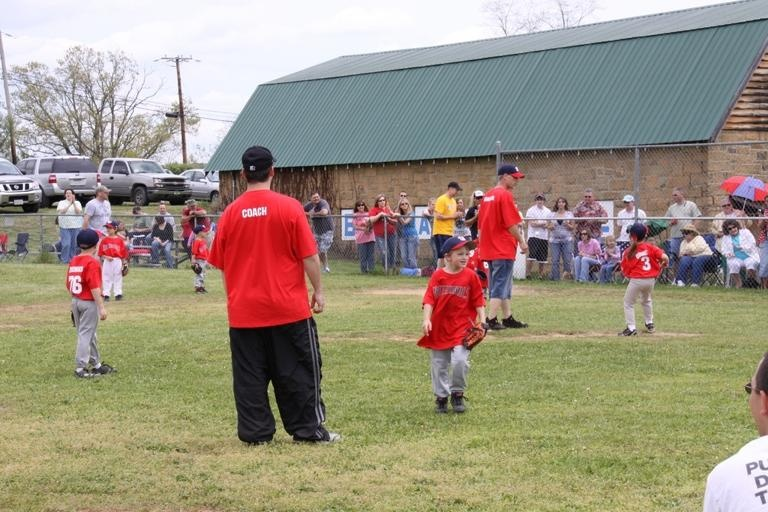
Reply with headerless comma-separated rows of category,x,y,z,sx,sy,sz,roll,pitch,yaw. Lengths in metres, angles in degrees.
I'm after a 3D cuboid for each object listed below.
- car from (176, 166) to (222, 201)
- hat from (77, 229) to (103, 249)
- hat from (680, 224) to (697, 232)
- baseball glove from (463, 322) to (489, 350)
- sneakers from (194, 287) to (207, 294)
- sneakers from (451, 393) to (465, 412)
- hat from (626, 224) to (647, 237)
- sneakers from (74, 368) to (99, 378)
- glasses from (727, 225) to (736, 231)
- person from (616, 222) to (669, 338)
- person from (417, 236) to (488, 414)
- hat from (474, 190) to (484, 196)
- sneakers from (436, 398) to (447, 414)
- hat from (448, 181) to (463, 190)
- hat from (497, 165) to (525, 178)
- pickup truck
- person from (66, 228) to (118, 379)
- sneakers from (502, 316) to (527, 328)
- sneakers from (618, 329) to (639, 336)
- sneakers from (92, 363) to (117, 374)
car,-6.868,-2.727,38.506,2.148,0.963,1.282,1,4,34
hat,-4.102,-0.227,14.155,0.231,0.193,0.319,2,41,1
hat,6.201,-0.537,20.675,0.278,0.197,0.380,1,14,11
baseball glove,1.209,1.045,12.630,0.332,0.134,0.307,-47,18,-14
sneakers,-3.744,0.704,20.683,0.266,0.112,0.090,1,12,14
sneakers,0.931,1.814,12.756,0.162,0.207,0.309,-1,14,4
hat,3.928,-0.393,15.736,0.237,0.214,0.309,1,14,9
sneakers,-4.055,1.607,13.894,0.315,0.138,0.132,0,4,-7
glasses,6.944,-0.541,20.222,0.097,0.079,0.136,-8,-23,21
person,4.058,0.362,15.924,0.637,1.777,0.935,2,14,14
person,0.862,0.858,12.747,0.815,2.072,0.838,4,15,23
hat,1.916,-1.261,20.649,0.191,0.108,0.295,-2,6,-8
sneakers,0.722,1.858,12.704,0.163,0.146,0.228,-1,14,2
hat,1.362,-1.283,18.701,0.317,0.177,0.223,-2,6,-15
hat,2.006,-1.350,16.205,0.349,0.243,0.462,-1,14,2
pickup truck,-8.495,-2.660,36.118,2.904,1.265,1.676,-1,0,43
person,-4.081,0.633,14.065,0.528,1.893,1.066,-6,14,-15
sneakers,2.080,1.067,16.438,0.497,0.229,0.170,-1,3,0
sneakers,3.804,1.199,15.815,0.309,0.148,0.111,1,-1,13
sneakers,-3.852,1.557,14.065,0.288,0.125,0.132,0,3,-11
